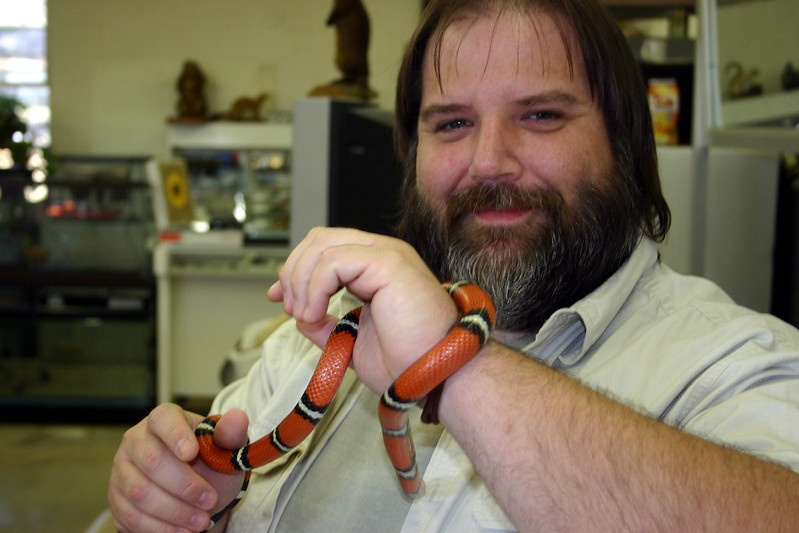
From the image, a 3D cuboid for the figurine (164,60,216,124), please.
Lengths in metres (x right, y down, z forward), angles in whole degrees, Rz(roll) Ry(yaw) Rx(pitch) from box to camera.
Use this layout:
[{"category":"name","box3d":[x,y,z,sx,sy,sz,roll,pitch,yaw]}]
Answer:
[{"category":"figurine","box3d":[-0.630,-0.535,2.250,0.135,0.165,0.141,2,23,-13]}]

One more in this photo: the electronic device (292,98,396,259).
[{"category":"electronic device","box3d":[-0.171,-0.401,2.821,0.379,0.782,0.512,-2,15,0]}]

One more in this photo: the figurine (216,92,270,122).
[{"category":"figurine","box3d":[-0.462,-0.471,2.206,0.204,0.103,0.063,-7,17,-21]}]

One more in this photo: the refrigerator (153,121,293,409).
[{"category":"refrigerator","box3d":[-0.607,-0.018,2.643,0.611,1.005,0.647,4,13,3]}]

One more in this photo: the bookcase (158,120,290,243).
[{"category":"bookcase","box3d":[-0.544,-0.224,2.561,0.412,0.437,0.242,-1,-15,-11]}]
